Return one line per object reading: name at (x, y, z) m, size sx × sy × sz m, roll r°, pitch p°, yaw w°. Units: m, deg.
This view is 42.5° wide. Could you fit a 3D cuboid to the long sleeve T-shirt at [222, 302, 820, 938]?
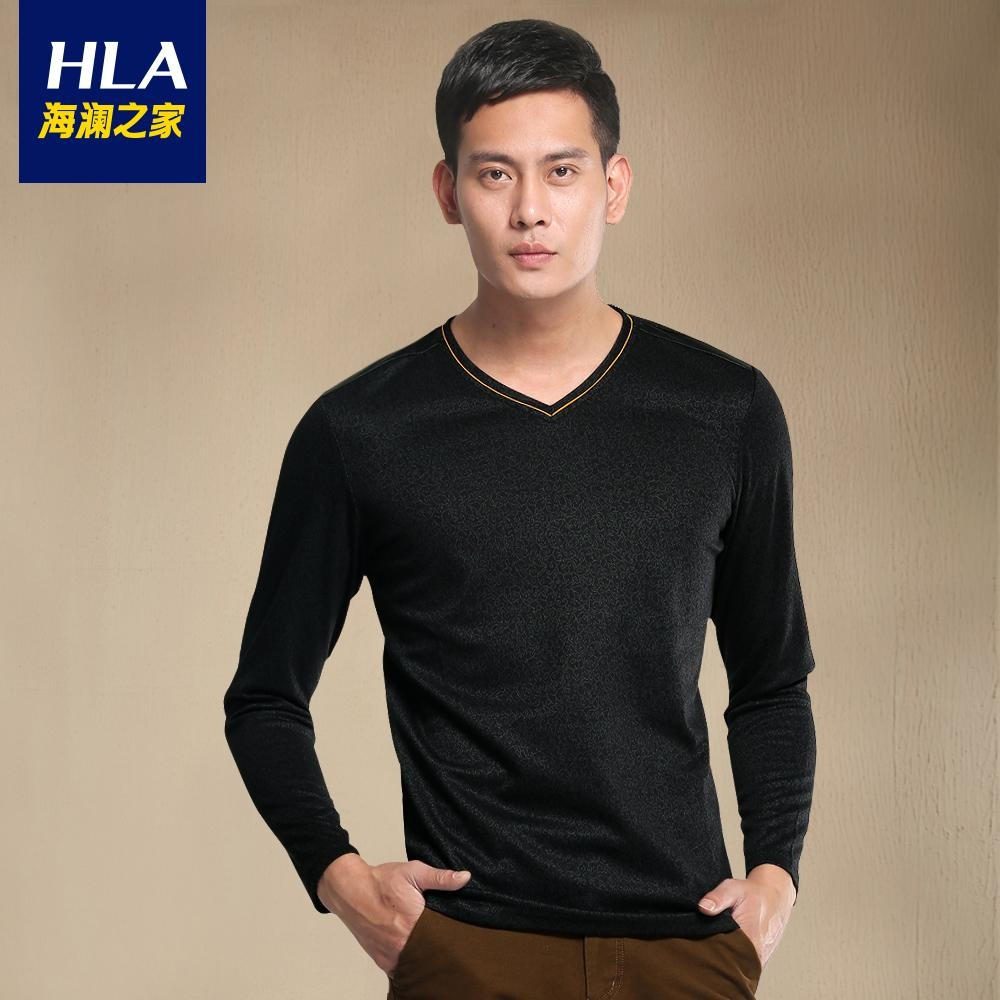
long sleeve T-shirt at (0.056, 0.214, 2.078) m, size 1.024 × 0.887 × 0.387 m, roll 3°, pitch -5°, yaw -9°
